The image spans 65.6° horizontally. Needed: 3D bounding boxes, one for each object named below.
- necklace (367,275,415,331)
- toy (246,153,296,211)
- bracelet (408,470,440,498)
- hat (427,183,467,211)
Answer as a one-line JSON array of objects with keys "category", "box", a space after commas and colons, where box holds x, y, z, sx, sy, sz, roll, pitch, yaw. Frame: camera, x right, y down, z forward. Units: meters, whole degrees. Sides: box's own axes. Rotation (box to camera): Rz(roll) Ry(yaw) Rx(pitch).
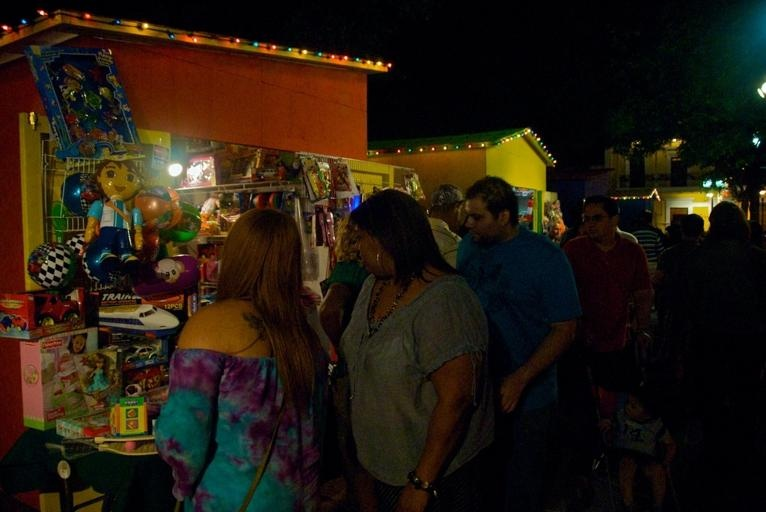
[{"category": "necklace", "box": [0.044, 0.346, 4.007, 0.222, 0.396, 0.078, -2, -29, 42]}, {"category": "toy", "box": [-1.338, -1.025, 7.840, 0.302, 0.798, 0.983, -11, 17, 16]}, {"category": "bracelet", "box": [0.266, 1.392, 3.681, 0.180, 0.122, 0.174, 25, 3, 22]}, {"category": "hat", "box": [0.642, -0.600, 5.832, 0.211, 0.244, 0.294, 13, 35, 38]}]
